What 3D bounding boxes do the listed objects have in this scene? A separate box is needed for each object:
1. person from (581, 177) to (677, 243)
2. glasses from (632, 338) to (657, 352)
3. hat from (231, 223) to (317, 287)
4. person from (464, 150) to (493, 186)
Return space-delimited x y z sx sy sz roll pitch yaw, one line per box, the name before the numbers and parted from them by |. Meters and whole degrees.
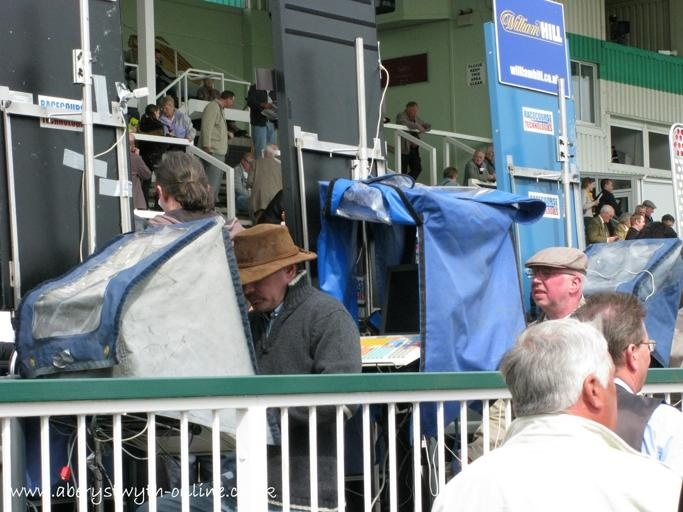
person | 3.961 -0.622 27.659 0.765 0.953 1.678 6 0 -44
glasses | 2.386 0.744 15.634 0.229 0.062 0.224 -3 -6 12
hat | -0.585 0.033 16.381 0.575 0.227 0.483 -19 9 -14
person | 1.983 -1.273 28.594 0.430 0.491 1.140 1 2 3
